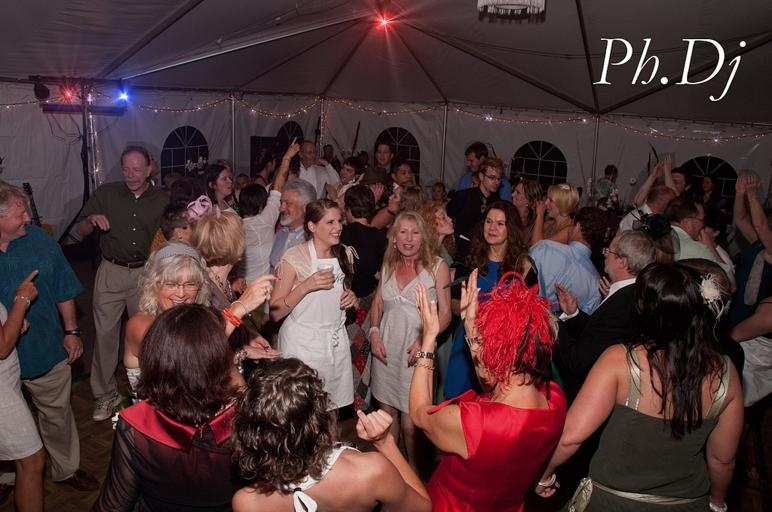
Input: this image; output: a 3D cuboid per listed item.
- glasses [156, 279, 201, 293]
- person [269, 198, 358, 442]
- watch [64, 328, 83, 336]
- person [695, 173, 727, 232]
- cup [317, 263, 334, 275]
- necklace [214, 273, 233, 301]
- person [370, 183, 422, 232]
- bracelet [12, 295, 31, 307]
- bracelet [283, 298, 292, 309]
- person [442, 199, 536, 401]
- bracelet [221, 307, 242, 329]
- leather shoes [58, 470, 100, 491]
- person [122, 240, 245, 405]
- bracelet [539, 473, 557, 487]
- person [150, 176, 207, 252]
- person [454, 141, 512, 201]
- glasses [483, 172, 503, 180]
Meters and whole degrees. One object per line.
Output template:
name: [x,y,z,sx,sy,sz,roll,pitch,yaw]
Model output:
glasses: [-1.361,0.190,3.364,0.246,0.078,0.070,-1,6,-30]
person: [-0.544,0.656,4.378,0.732,2.221,0.698,-9,18,-35]
watch: [-2.703,0.653,4.374,0.089,0.040,0.095,6,2,-2]
person: [4.570,-0.790,7.175,0.346,0.416,1.135,8,-19,30]
cup: [-0.505,0.095,4.274,0.084,0.106,0.103,2,16,5]
necklace: [-1.252,0.235,3.956,0.041,0.175,0.129,-19,-6,12]
person: [0.104,-0.529,5.448,0.257,0.229,0.707,29,-27,-25]
bracelet: [-2.610,0.314,3.671,0.098,0.082,0.096,-2,7,-38]
bracelet: [-0.789,0.376,4.145,0.081,0.087,0.021,5,3,-2]
person: [0.944,0.559,4.818,0.773,2.113,0.814,5,19,4]
bracelet: [-0.981,0.396,3.269,0.108,0.045,0.110,43,-10,19]
leather shoes: [-2.585,1.923,4.382,0.348,0.156,0.154,7,16,-5]
person: [-1.476,0.548,3.580,0.513,1.254,0.772,8,17,37]
bracelet: [1.075,1.500,3.397,0.094,0.032,0.076,-5,35,29]
person: [-1.849,-0.375,4.527,0.314,0.799,0.426,19,-3,-36]
person: [1.495,-1.424,8.135,0.457,0.857,0.909,-26,32,-25]
glasses: [1.378,-1.054,6.609,0.251,0.146,0.099,1,6,-6]
